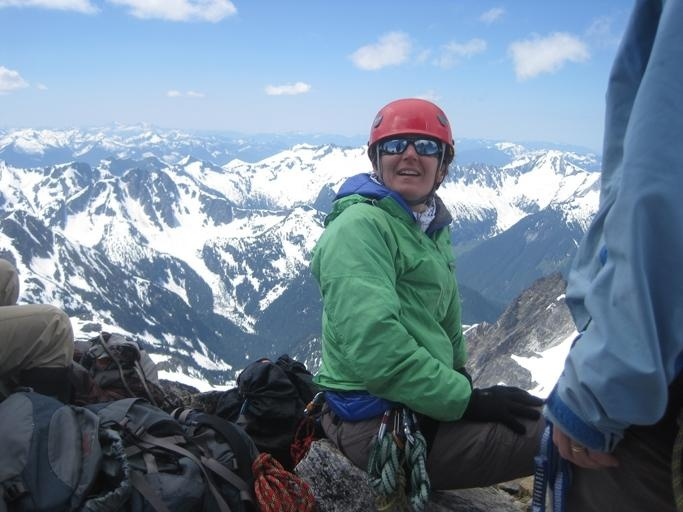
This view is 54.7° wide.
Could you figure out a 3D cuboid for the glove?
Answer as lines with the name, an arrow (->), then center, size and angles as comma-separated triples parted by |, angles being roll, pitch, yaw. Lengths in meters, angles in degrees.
glove -> 2.288, 2.208, 9.557 | 0.924, 0.312, 0.662 | 3, 47, 2
